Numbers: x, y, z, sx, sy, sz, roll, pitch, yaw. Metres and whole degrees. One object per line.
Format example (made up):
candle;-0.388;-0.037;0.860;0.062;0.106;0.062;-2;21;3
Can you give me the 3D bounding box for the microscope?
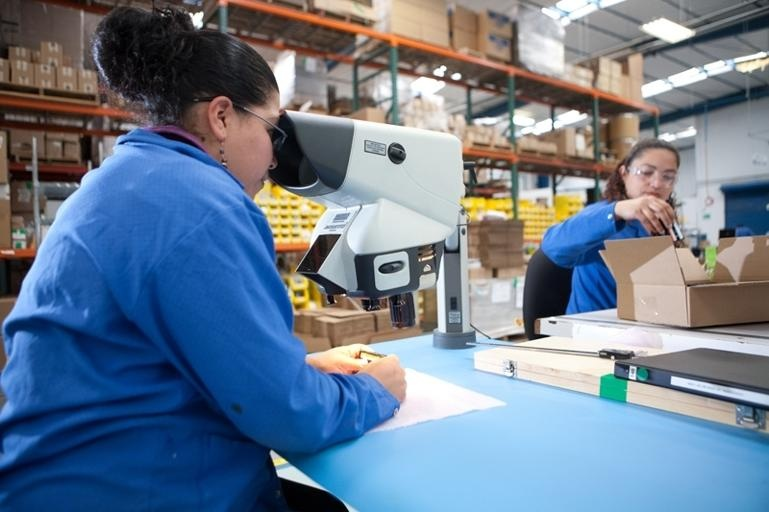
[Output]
microscope;-0.009;-0.041;2.085;0.754;0.753;0.377;0;4;-27
